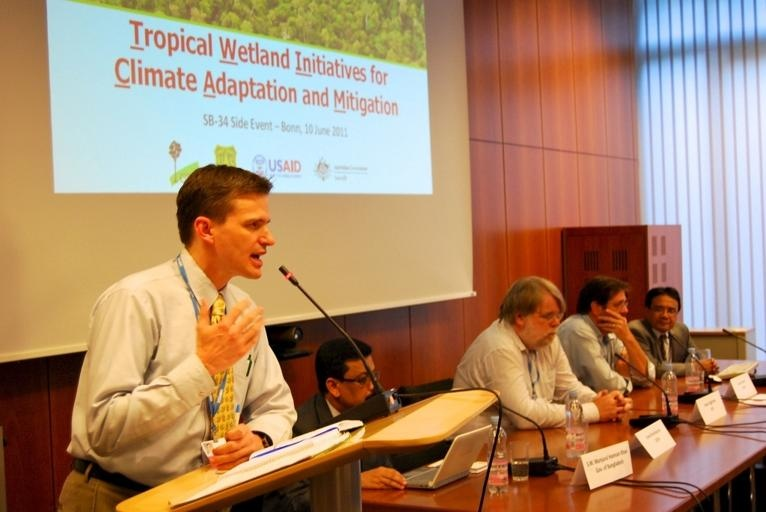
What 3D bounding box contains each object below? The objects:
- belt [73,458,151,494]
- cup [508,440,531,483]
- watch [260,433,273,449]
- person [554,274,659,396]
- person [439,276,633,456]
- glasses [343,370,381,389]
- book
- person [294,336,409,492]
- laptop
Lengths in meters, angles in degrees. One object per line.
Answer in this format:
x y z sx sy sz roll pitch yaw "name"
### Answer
-0.947 0.757 2.074 0.147 0.048 0.153 27 -17 -19 "belt"
0.566 0.857 2.530 0.081 0.140 0.147 -5 3 11 "cup"
-0.395 0.625 2.045 0.040 0.042 0.038 -37 9 -40 "watch"
1.536 0.561 4.166 0.581 0.781 0.533 -4 6 -23 "person"
0.901 0.562 3.512 0.731 0.789 1.085 1 -3 -38 "person"
-0.113 0.597 2.910 0.207 0.069 0.211 -11 -11 29 "glasses"
-0.268 0.548 1.666 0.366 0.093 0.177 -7 3 -16 "book"
-0.211 0.963 3.179 0.499 1.092 0.528 -7 9 -15 "person"
0.192 0.874 2.572 0.294 0.153 0.309 -5 -5 -23 "laptop"
